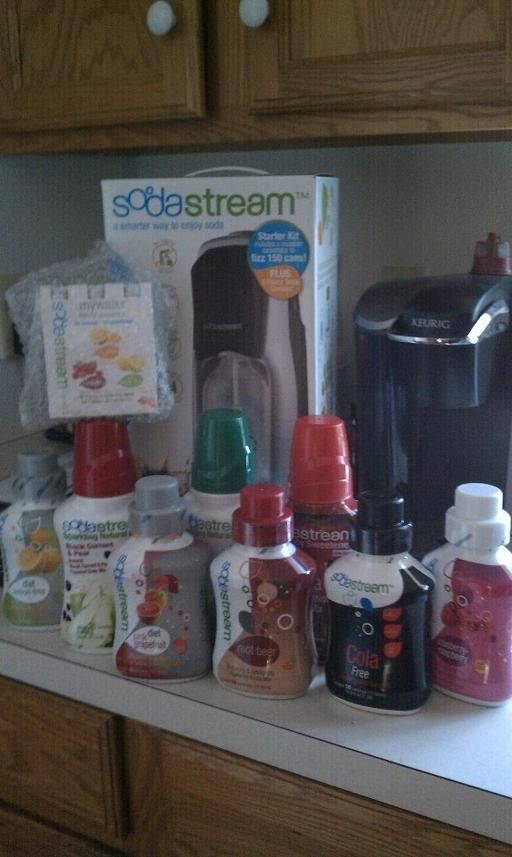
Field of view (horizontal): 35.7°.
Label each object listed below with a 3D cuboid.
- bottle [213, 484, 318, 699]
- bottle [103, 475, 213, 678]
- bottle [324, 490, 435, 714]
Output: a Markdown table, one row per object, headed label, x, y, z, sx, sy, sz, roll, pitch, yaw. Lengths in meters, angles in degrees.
| label | x | y | z | sx | sy | sz | roll | pitch | yaw |
| --- | --- | --- | --- | --- | --- | --- | --- | --- | --- |
| bottle | 0.007 | 0.119 | 0.598 | 0.082 | 0.155 | 0.072 | -6 | 9 | -17 |
| bottle | -0.074 | 0.114 | 0.622 | 0.077 | 0.159 | 0.056 | -2 | 15 | -11 |
| bottle | 0.088 | 0.121 | 0.575 | 0.077 | 0.155 | 0.056 | 6 | 15 | 25 |
